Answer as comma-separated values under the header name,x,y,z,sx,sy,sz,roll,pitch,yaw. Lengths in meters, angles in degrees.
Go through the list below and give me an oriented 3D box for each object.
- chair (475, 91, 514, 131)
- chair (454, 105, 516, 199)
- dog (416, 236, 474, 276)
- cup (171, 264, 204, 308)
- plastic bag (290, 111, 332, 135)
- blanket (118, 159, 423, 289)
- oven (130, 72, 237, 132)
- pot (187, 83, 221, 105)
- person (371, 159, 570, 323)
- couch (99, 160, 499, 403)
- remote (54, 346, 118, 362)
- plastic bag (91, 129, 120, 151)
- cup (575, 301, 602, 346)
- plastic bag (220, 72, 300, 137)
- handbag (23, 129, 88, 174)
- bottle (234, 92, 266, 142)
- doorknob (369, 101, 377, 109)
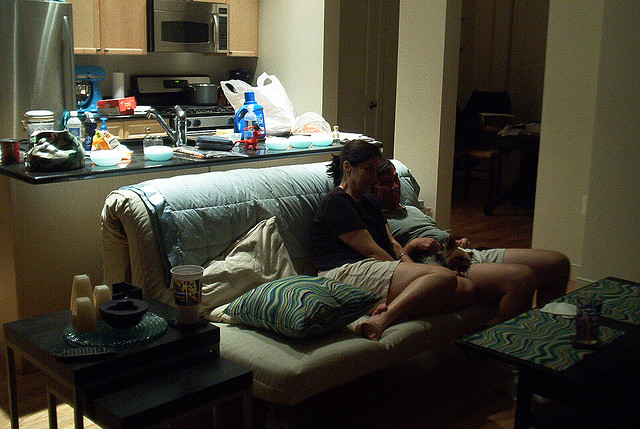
name,x,y,z,sx,sy,sz,roll,pitch,yaw
chair,2.482,-1.505,7.355,0.745,0.511,0.850,-4,10,1
chair,2.198,-0.920,7.031,0.925,1.281,0.862,-2,-8,40
dog,0.773,0.234,3.160,0.339,0.278,0.181,8,35,17
cup,-0.554,0.312,2.128,0.127,0.192,0.127,3,11,-1
plastic bag,-0.060,-0.776,4.370,0.269,0.101,0.198,-19,27,-41
blanket,-0.556,-0.031,3.012,1.480,0.522,0.605,-13,20,-41
oven,-1.515,-1.205,5.522,0.603,0.610,0.919,12,18,38
pot,-1.384,-1.430,6.067,0.380,0.181,0.238,-6,10,-39
person,0.852,0.208,3.301,0.569,1.033,1.350,-15,13,-40
couch,0.081,0.208,3.214,1.647,0.848,2.420,10,14,36
remote,-0.869,0.511,1.896,0.171,0.024,0.084,-1,9,-18
plastic bag,-1.415,-0.478,3.337,0.049,0.143,0.154,-9,-13,41
cup,1.205,0.495,2.276,0.105,0.176,0.109,-2,-10,0
plastic bag,-0.513,-0.945,4.406,0.608,0.526,0.555,-13,18,-36
handbag,-1.560,-0.376,3.019,0.354,0.238,0.315,-2,5,-27
bottle,-0.556,-0.756,4.044,0.238,0.372,0.156,-9,-11,-10
doorknob,0.700,-1.453,6.760,0.029,0.100,0.148,8,18,37
